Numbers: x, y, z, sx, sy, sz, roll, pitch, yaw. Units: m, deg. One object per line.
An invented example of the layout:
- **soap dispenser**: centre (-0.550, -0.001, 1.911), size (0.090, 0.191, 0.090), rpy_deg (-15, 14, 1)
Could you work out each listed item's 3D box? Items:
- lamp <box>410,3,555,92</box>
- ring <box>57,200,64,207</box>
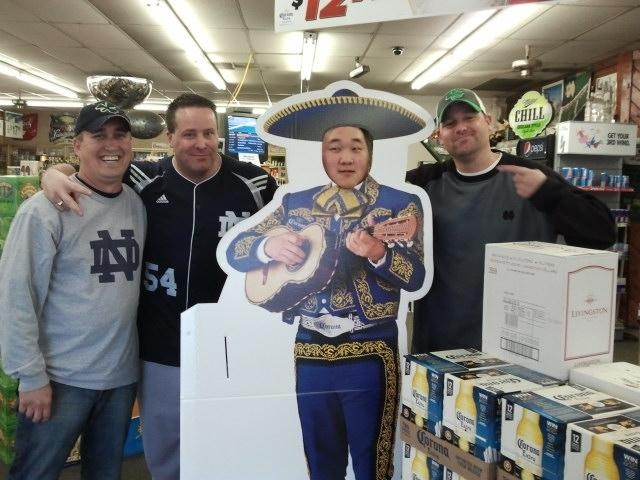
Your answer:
- **lamp**: centre (2.028, -2.565, 6.639), size (0.528, 0.165, 2.611), rpy_deg (1, 4, -8)
- **ring**: centre (-1.248, -0.181, 2.491), size (0.029, 0.031, 0.013), rpy_deg (0, 4, -18)
